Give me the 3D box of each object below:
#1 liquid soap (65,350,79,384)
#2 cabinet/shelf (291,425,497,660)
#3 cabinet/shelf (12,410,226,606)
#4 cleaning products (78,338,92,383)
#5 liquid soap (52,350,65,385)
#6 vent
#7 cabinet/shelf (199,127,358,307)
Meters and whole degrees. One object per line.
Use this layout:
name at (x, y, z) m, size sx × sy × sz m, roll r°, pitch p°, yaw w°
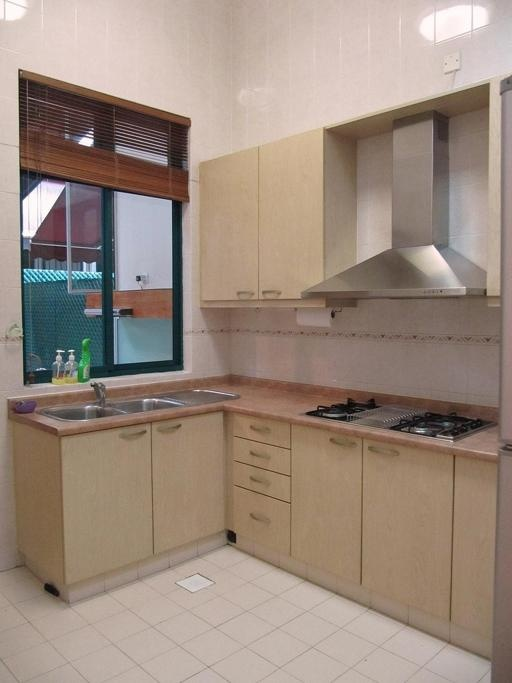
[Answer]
liquid soap at (-0.978, 0.129, 2.985) m, size 0.066 × 0.165 × 0.236 m, roll -1°, pitch 3°, yaw -18°
cabinet/shelf at (0.544, 0.766, 2.148) m, size 0.287 × 0.557 × 0.739 m, roll 3°, pitch 0°, yaw -39°
cabinet/shelf at (-0.643, 0.696, 2.763) m, size 0.487 × 0.738 × 0.863 m, roll 4°, pitch 5°, yaw 44°
cleaning products at (-0.913, 0.101, 3.003) m, size 0.061 × 0.224 × 0.189 m, roll -1°, pitch 3°, yaw -15°
liquid soap at (-1.028, 0.130, 2.932) m, size 0.066 × 0.167 × 0.217 m, roll -1°, pitch 3°, yaw -20°
vent at (0.625, -0.599, 2.478) m, size 0.450 × 0.812 × 0.856 m, roll -7°, pitch 9°, yaw -42°
cabinet/shelf at (0.108, -0.628, 3.163) m, size 0.352 × 0.859 × 0.980 m, roll -6°, pitch 9°, yaw -42°
